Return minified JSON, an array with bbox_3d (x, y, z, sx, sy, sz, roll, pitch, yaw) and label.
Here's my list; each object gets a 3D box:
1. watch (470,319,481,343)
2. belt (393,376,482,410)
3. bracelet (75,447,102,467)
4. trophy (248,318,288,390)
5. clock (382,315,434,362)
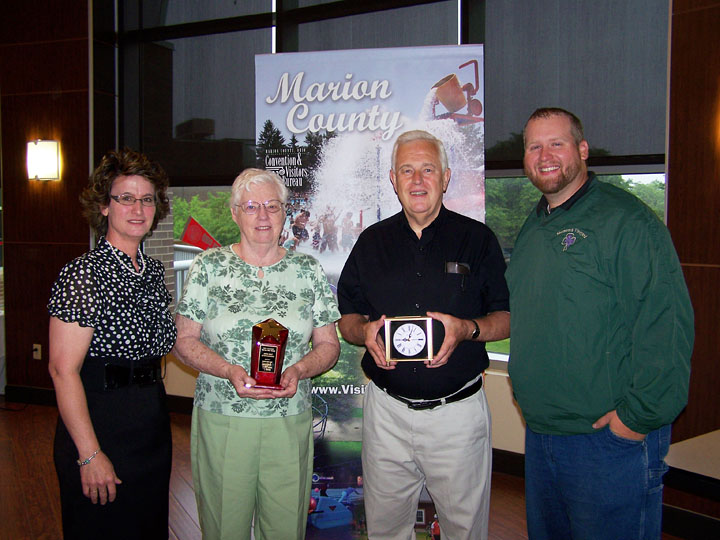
[{"bbox_3d":[0.558,0.298,3.083,0.061,0.089,0.085,1,31,-10],"label":"watch"},{"bbox_3d":[0.381,0.621,3.187,0.458,0.138,0.095,-2,5,-4],"label":"belt"},{"bbox_3d":[-1.234,0.854,2.906,0.094,0.027,0.071,-35,25,-26],"label":"bracelet"},{"bbox_3d":[-0.438,0.395,3.040,0.166,0.323,0.137,0,0,8],"label":"trophy"},{"bbox_3d":[0.233,0.342,3.087,0.233,0.236,0.047,0,6,12],"label":"clock"}]
